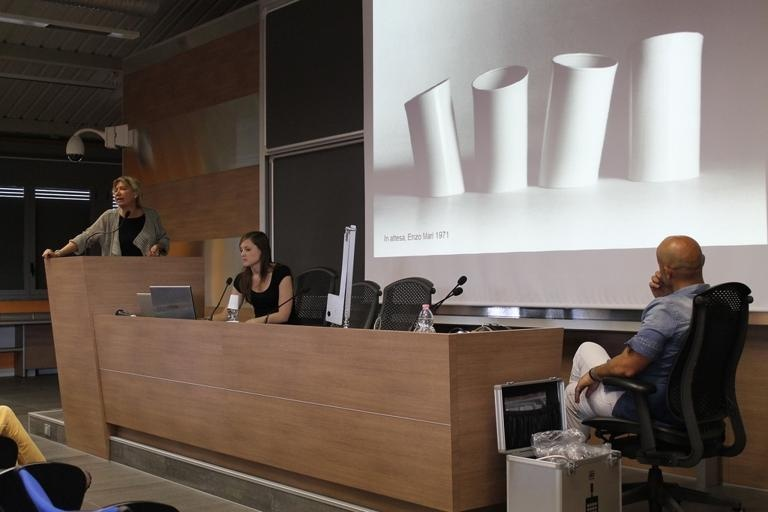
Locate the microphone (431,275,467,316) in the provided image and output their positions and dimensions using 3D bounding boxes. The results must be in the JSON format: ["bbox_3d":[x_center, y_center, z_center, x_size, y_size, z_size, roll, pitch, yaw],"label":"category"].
[{"bbox_3d":[0.486,0.288,3.944,0.120,0.091,0.438,16,37,33],"label":"microphone"}]

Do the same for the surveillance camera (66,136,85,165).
[{"bbox_3d":[-4.321,-1.512,7.456,0.183,0.344,0.310,1,-2,-37],"label":"surveillance camera"}]

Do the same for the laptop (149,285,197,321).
[{"bbox_3d":[-1.447,0.313,3.708,0.286,0.286,0.223,0,-4,2],"label":"laptop"}]

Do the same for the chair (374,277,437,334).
[{"bbox_3d":[0.146,0.368,3.833,0.310,0.534,0.406,-3,-19,28],"label":"chair"}]

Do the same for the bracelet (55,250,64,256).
[{"bbox_3d":[-2.636,-0.022,4.317,0.072,0.037,0.054,-3,-2,41],"label":"bracelet"}]

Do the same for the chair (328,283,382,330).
[{"bbox_3d":[-0.163,0.412,4.421,0.358,0.545,0.447,-4,-9,40],"label":"chair"}]

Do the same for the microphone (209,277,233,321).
[{"bbox_3d":[-1.575,0.400,5.143,0.075,0.510,0.058,27,-5,-4],"label":"microphone"}]
